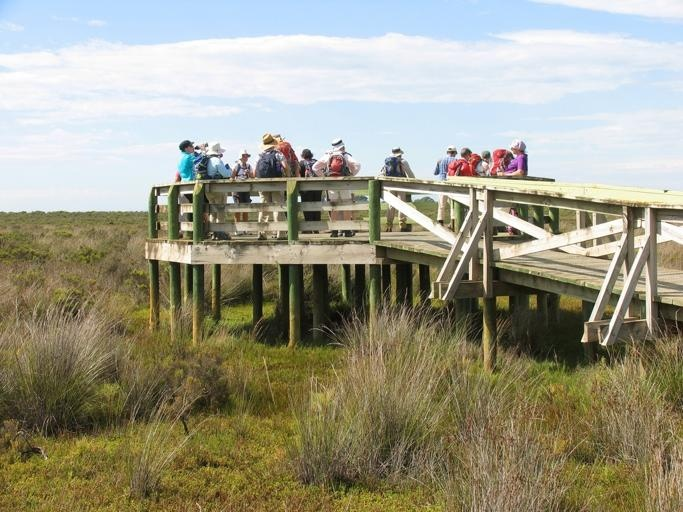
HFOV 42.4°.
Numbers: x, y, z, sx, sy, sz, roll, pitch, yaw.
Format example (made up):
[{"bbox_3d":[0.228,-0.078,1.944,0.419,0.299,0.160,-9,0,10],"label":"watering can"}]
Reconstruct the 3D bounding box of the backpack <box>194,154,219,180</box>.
[{"bbox_3d":[-2.290,-1.505,14.959,0.307,0.704,0.460,1,-2,-24],"label":"backpack"}]

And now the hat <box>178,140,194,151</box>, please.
[{"bbox_3d":[-2.663,-1.891,15.146,0.192,0.168,0.381,-1,9,-17],"label":"hat"}]

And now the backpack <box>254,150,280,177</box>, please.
[{"bbox_3d":[-1.256,-1.584,15.097,0.464,0.474,0.300,2,7,3],"label":"backpack"}]
